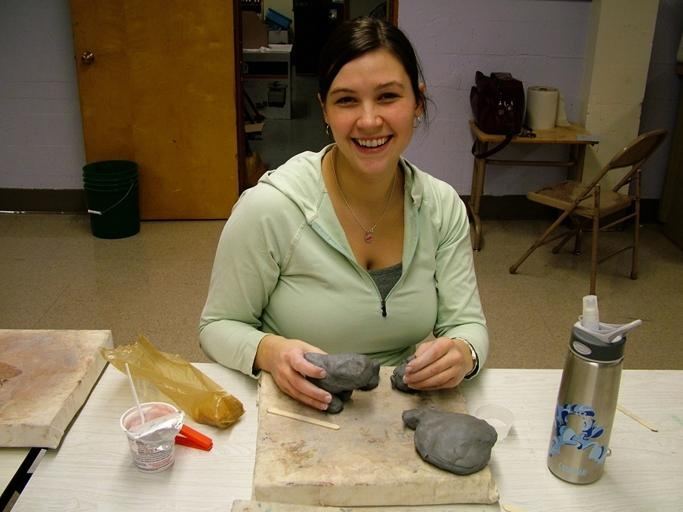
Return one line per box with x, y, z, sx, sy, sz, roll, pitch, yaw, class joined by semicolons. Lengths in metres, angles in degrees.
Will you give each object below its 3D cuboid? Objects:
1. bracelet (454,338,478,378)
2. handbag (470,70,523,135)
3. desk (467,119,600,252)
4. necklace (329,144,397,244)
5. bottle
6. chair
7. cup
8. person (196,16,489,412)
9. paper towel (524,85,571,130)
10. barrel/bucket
0.402;0.309;1.820;0.040;0.096;0.108;-14;53;-4;bracelet
1.279;-1.274;4.802;0.355;0.474;0.628;-2;25;-3;handbag
1.629;-0.640;5.069;0.884;0.899;0.772;1;20;13;desk
0.097;-0.153;1.924;0.152;0.327;0.051;-15;54;-12;necklace
0.618;0.344;1.460;0.148;0.508;0.094;8;23;23;bottle
1.846;-0.386;4.333;0.620;1.234;0.830;-15;26;-29;chair
-0.497;0.489;1.536;0.133;0.135;0.132;5;18;-2;cup
0.015;-0.124;1.779;0.944;1.094;0.691;-9;23;-16;person
1.682;-1.233;4.850;0.257;0.313;0.270;-20;31;-25;paper towel
-1.928;-0.478;4.907;0.460;0.575;0.429;2;20;-1;barrel/bucket
